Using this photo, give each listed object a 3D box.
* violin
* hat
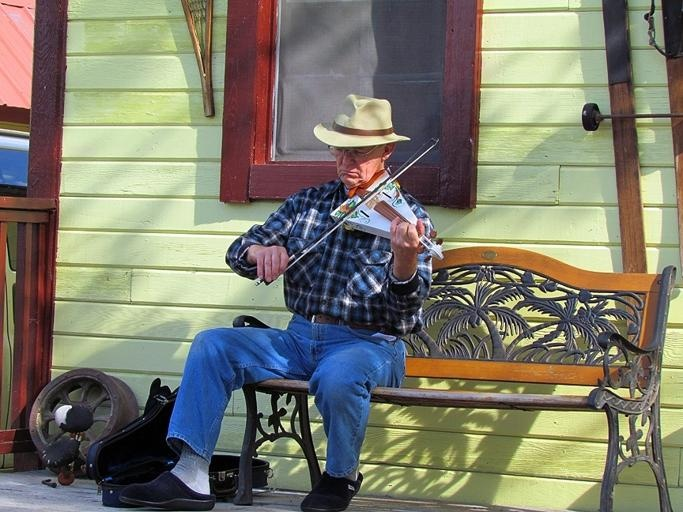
[{"bbox_3d":[0.223,-0.192,3.607,0.403,0.408,0.618,7,-8,-25],"label":"violin"},{"bbox_3d":[0.096,-0.577,3.689,0.410,0.251,0.326,4,8,11],"label":"hat"}]
